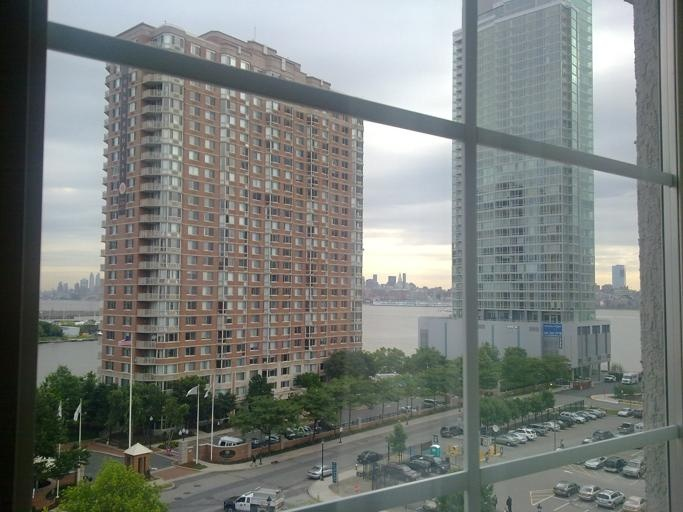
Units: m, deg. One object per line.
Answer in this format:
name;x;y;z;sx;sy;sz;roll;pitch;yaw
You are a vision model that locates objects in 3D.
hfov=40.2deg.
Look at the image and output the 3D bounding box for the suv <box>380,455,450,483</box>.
suv;3.034;9.070;39.957;2.621;0.884;2.504;0;-9;-9
